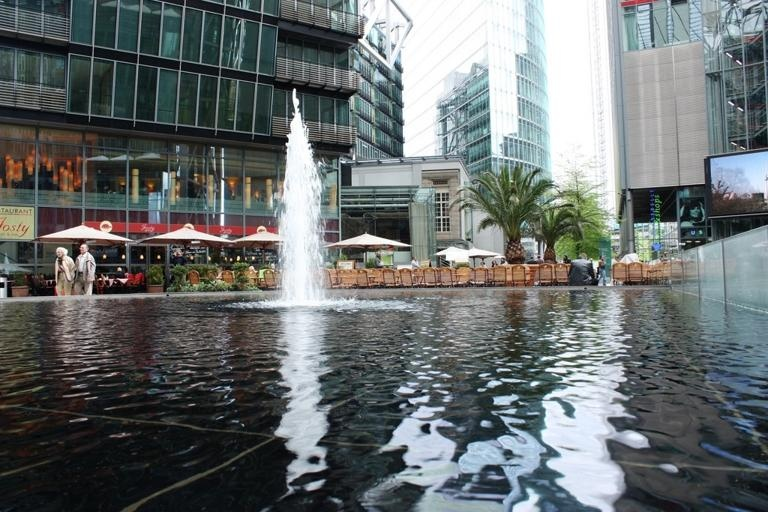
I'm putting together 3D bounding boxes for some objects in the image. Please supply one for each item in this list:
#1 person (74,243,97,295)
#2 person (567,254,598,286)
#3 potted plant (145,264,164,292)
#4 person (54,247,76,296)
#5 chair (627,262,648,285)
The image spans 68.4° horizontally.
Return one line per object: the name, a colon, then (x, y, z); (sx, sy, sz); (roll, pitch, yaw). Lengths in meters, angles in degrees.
person: (-12.673, 0.797, 23.917); (0.915, 1.781, 0.473); (-1, 0, 29)
person: (9.319, 0.718, 26.511); (1.172, 1.508, 1.327); (-1, 0, 20)
potted plant: (-10.955, 1.176, 27.100); (0.751, 1.175, 1.315); (-1, 0, -22)
person: (-13.520, 0.712, 23.999); (0.680, 1.734, 0.947); (-1, 0, -27)
chair: (12.565, 0.980, 28.255); (1.256, 1.074, 0.938); (-1, -9, 9)
